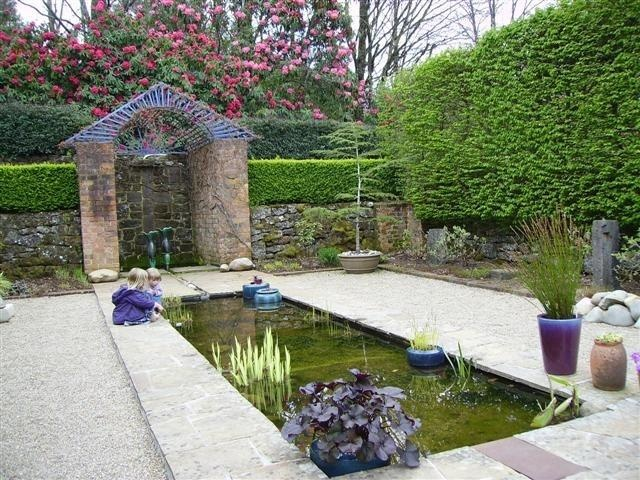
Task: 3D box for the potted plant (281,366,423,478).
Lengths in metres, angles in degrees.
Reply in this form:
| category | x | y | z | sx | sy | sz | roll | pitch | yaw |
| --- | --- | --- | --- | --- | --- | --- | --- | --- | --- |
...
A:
| category | x | y | z | sx | sy | sz | roll | pitch | yaw |
| --- | --- | --- | --- | --- | --- | --- | --- | --- | --- |
| potted plant | 0.256 | 1.307 | 3.194 | 0.745 | 0.462 | 0.773 | -16 | 29 | -34 |

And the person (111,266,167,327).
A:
| category | x | y | z | sx | sy | sz | roll | pitch | yaw |
| --- | --- | --- | --- | --- | --- | --- | --- | --- | --- |
| person | -2.647 | 0.771 | 6.773 | 0.787 | 0.832 | 0.675 | -4 | 12 | -30 |

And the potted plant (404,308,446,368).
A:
| category | x | y | z | sx | sy | sz | roll | pitch | yaw |
| --- | --- | --- | --- | --- | --- | --- | --- | --- | --- |
| potted plant | 1.162 | 1.112 | 4.977 | 0.418 | 0.461 | 0.418 | -1 | 4 | -4 |
